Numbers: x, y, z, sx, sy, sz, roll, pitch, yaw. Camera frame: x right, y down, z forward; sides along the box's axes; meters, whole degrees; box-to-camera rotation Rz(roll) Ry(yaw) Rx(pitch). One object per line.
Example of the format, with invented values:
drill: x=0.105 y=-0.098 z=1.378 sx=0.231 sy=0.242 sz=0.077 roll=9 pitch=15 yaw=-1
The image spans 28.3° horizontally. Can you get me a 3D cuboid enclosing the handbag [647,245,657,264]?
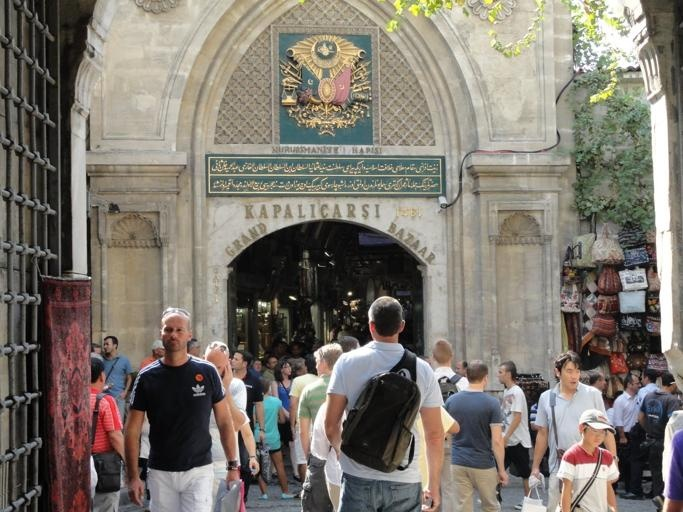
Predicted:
handbag: x=4.194 y=-0.006 z=18.215 sx=0.064 sy=0.292 sz=0.198 roll=-5 pitch=-7 yaw=11

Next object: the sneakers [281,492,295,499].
sneakers: x=-0.648 y=2.820 z=15.884 sx=0.166 sy=0.070 sz=0.060 roll=3 pitch=-1 yaw=-25

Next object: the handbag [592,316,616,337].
handbag: x=3.683 y=0.988 z=18.831 sx=0.281 sy=0.222 sz=0.293 roll=4 pitch=-9 yaw=2

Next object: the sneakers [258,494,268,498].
sneakers: x=-0.946 y=2.832 z=15.886 sx=0.108 sy=0.079 sz=0.043 roll=3 pitch=-2 yaw=21

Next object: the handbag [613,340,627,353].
handbag: x=3.905 y=1.263 z=18.930 sx=0.119 sy=0.200 sz=0.204 roll=3 pitch=-24 yaw=3

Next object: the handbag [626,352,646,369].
handbag: x=4.128 y=1.465 z=18.868 sx=0.239 sy=0.192 sz=0.103 roll=-5 pitch=-8 yaw=1

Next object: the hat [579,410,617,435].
hat: x=2.302 y=1.495 z=12.165 sx=0.193 sy=0.150 sz=0.257 roll=21 pitch=-15 yaw=-39

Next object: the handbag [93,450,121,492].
handbag: x=-2.216 y=2.039 z=12.613 sx=0.267 sy=0.374 sz=0.249 roll=1 pitch=-7 yaw=-20

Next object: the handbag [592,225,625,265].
handbag: x=3.729 y=-0.132 z=18.791 sx=0.488 sy=0.669 sz=0.334 roll=-1 pitch=4 yaw=9

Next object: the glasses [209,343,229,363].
glasses: x=-1.201 y=0.889 z=12.928 sx=0.130 sy=0.181 sz=0.183 roll=3 pitch=-23 yaw=11

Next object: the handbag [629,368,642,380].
handbag: x=3.980 y=1.604 z=18.225 sx=0.108 sy=0.144 sz=0.136 roll=5 pitch=-17 yaw=40

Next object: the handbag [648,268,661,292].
handbag: x=4.019 y=0.315 z=17.322 sx=0.173 sy=0.316 sz=0.113 roll=-1 pitch=-2 yaw=7

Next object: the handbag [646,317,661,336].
handbag: x=4.341 y=0.976 z=18.783 sx=0.198 sy=0.205 sz=0.211 roll=8 pitch=-10 yaw=-41

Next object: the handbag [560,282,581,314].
handbag: x=3.231 y=0.591 z=18.980 sx=0.322 sy=0.386 sz=0.091 roll=3 pitch=-8 yaw=-27

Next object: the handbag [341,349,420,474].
handbag: x=0.389 y=1.256 z=11.171 sx=0.630 sy=1.022 sz=0.516 roll=22 pitch=-3 yaw=2

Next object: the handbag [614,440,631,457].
handbag: x=3.493 y=2.389 z=16.785 sx=0.178 sy=0.354 sz=0.190 roll=-1 pitch=-2 yaw=-3

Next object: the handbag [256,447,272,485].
handbag: x=-0.947 y=2.538 z=15.971 sx=0.183 sy=0.082 sz=0.255 roll=29 pitch=-28 yaw=18

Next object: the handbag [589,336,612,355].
handbag: x=3.628 y=1.270 z=18.946 sx=0.198 sy=0.294 sz=0.263 roll=0 pitch=-4 yaw=19

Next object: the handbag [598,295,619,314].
handbag: x=3.716 y=0.668 z=18.808 sx=0.298 sy=0.288 sz=0.232 roll=-1 pitch=-2 yaw=12

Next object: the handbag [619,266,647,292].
handbag: x=4.044 y=0.325 z=18.720 sx=0.300 sy=0.325 sz=0.102 roll=0 pitch=-7 yaw=11

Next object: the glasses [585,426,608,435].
glasses: x=2.283 y=1.562 z=12.092 sx=0.194 sy=0.075 sz=0.088 roll=-1 pitch=-8 yaw=-3

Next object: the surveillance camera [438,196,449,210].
surveillance camera: x=1.444 y=-0.755 z=19.183 sx=0.126 sy=0.225 sz=0.128 roll=5 pitch=-35 yaw=-17

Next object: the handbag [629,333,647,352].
handbag: x=4.169 y=1.220 z=18.896 sx=0.205 sy=0.236 sz=0.136 roll=-1 pitch=-32 yaw=7

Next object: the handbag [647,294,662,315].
handbag: x=4.338 y=0.660 z=18.783 sx=0.173 sy=0.304 sz=0.099 roll=0 pitch=-8 yaw=-8

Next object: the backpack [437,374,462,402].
backpack: x=1.107 y=1.356 z=13.800 sx=0.182 sy=0.272 sz=0.272 roll=3 pitch=3 yaw=28

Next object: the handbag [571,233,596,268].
handbag: x=3.390 y=-0.075 z=18.874 sx=0.155 sy=0.446 sz=0.340 roll=11 pitch=-11 yaw=-39
